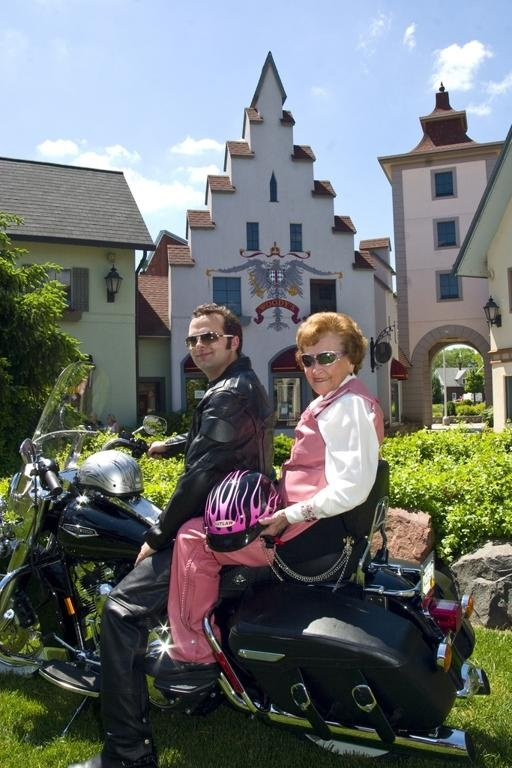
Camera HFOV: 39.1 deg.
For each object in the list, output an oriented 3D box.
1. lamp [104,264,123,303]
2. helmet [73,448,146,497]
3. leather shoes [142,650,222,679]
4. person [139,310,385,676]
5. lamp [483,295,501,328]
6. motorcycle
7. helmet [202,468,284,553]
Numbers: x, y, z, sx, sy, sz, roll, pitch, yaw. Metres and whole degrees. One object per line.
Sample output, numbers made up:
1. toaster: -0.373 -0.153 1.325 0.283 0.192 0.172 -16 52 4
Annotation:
1. lamp: -3.881 -2.733 19.569 0.447 1.015 0.572 0 -2 -13
2. helmet: -0.665 0.390 3.217 0.253 0.134 0.182 14 7 34
3. leather shoes: -0.275 1.053 2.667 0.127 0.061 0.176 -9 -14 43
4. person: 0.064 0.454 2.877 0.856 1.462 0.812 0 -6 8
5. lamp: 5.702 -1.739 17.409 0.347 0.761 0.619 -1 -2 13
6. motorcycle: -0.253 0.744 3.551 2.627 1.509 1.026 3 -3 26
7. helmet: -0.029 0.462 2.586 0.221 0.161 0.311 -13 21 29
